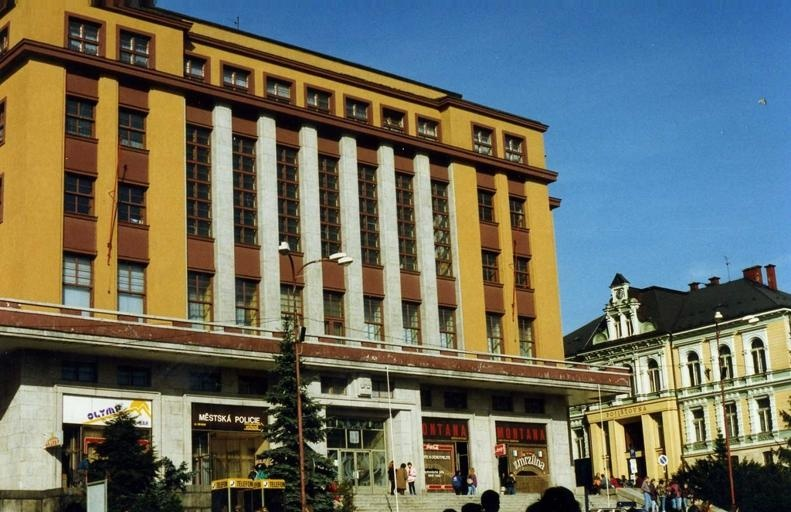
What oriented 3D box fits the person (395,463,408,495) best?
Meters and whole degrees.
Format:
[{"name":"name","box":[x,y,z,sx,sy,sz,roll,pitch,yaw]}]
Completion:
[{"name":"person","box":[0.477,15.153,96.351,0.800,2.250,0.930,-2,-21,0]}]
